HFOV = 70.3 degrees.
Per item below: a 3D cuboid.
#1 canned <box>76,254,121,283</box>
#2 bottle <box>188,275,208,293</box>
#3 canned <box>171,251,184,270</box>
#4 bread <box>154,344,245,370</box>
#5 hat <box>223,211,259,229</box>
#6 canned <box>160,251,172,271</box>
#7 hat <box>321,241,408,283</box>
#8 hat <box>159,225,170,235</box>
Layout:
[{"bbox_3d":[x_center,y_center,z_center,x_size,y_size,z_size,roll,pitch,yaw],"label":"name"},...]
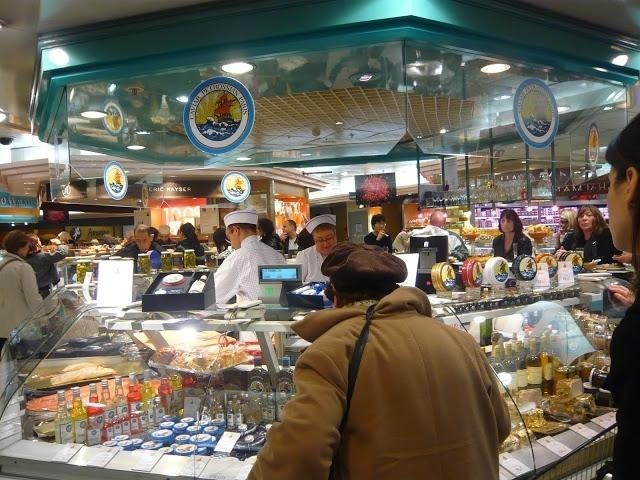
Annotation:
[{"bbox_3d":[-1.919,0.252,3.928,0.282,0.181,0.149,-2,3,0],"label":"canned"},{"bbox_3d":[-0.769,0.280,2.867,0.107,0.076,0.125,-2,1,0],"label":"bottle"},{"bbox_3d":[-1.053,0.172,3.449,0.106,0.115,0.104,2,2,8],"label":"canned"},{"bbox_3d":[-0.724,0.727,2.769,0.291,0.083,0.290,-1,-4,13],"label":"bread"},{"bbox_3d":[-0.900,-0.224,5.013,0.236,0.085,0.222,-7,-7,30],"label":"hat"},{"bbox_3d":[-1.126,0.156,3.399,0.120,0.167,0.117,2,-3,-16],"label":"canned"},{"bbox_3d":[0.168,0.092,1.795,0.213,0.083,0.201,4,-1,38],"label":"hat"},{"bbox_3d":[-3.132,-0.185,9.177,0.193,0.125,0.189,-12,26,-32],"label":"hat"}]
